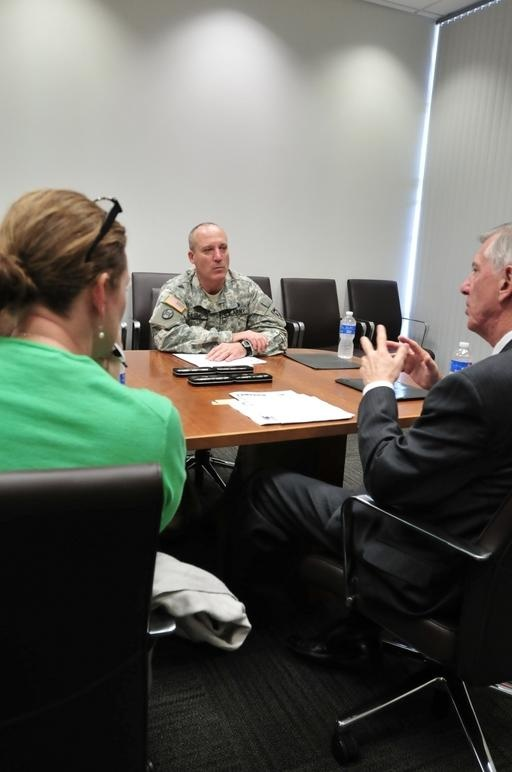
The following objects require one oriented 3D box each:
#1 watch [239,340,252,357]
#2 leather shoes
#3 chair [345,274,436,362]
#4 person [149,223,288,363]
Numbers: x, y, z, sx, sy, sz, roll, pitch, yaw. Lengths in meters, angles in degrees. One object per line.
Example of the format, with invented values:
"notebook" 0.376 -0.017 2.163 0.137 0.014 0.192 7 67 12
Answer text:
"watch" -0.046 -0.155 2.358 0.039 0.055 0.061 -9 57 -34
"leather shoes" 0.220 0.701 1.565 0.211 0.084 0.120 6 39 -1
"chair" 1.052 -0.385 4.585 0.592 0.880 0.568 -4 12 -14
"person" -0.218 -0.443 2.724 0.615 0.640 0.731 -7 13 -34
